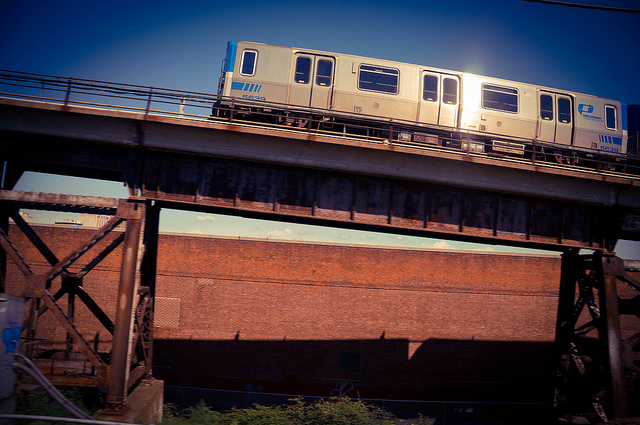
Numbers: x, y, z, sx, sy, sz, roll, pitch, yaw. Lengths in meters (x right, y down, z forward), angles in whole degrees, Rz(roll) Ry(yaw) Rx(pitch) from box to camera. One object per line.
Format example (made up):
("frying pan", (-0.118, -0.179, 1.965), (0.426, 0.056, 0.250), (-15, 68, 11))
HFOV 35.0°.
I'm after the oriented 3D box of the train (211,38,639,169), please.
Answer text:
("train", (3.154, -4.872, 51.056), (28.938, 3.746, 4.113), (9, -8, -8))
